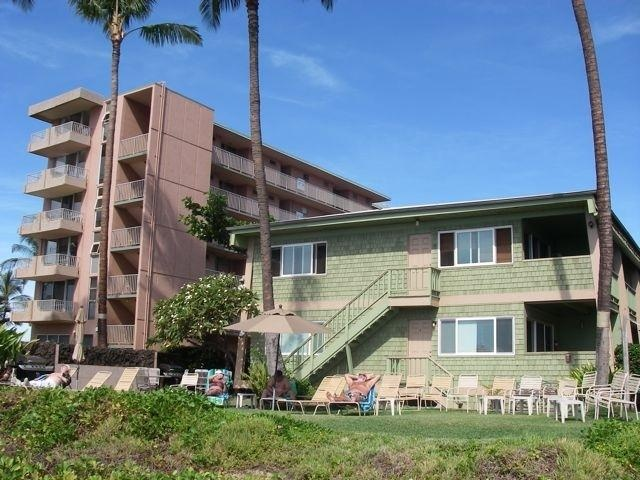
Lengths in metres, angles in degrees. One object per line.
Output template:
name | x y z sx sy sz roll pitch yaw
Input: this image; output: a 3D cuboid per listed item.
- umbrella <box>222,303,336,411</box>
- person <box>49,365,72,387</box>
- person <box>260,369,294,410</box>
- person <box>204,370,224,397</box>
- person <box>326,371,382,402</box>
umbrella | -1.581 3.845 19.638 2.721 2.778 2.744 4 2 -5
person | -8.249 4.357 16.948 0.508 0.606 2.050 4 -9 -26
person | -1.545 5.335 19.040 1.274 1.435 0.984 5 -13 -9
person | -3.890 5.408 19.808 0.420 1.048 0.497 9 -30 2
person | 1.189 4.866 17.673 0.962 0.616 1.332 -7 -18 26
